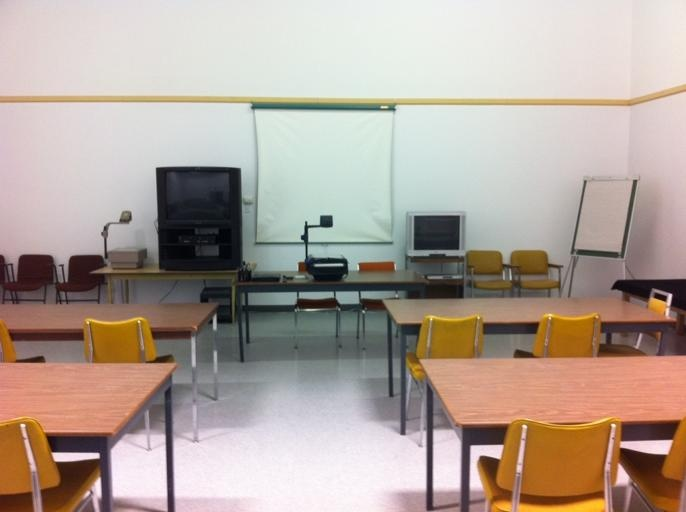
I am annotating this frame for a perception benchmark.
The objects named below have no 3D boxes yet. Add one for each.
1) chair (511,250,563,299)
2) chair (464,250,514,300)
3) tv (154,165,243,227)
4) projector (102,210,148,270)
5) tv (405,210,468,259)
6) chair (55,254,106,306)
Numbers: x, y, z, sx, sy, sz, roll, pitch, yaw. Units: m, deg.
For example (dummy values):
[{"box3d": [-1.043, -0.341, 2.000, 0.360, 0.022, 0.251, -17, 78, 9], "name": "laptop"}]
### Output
[{"box3d": [2.671, 0.278, 7.980, 0.774, 0.659, 0.821, 0, 8, 11], "name": "chair"}, {"box3d": [2.005, 0.255, 7.925, 0.613, 0.823, 0.642, -1, 3, -7], "name": "chair"}, {"box3d": [-1.751, -0.754, 7.198, 1.117, 0.775, 0.646, 0, 4, -4], "name": "tv"}, {"box3d": [-2.866, -0.216, 7.572, 0.522, 0.715, 0.893, -5, 8, -22], "name": "projector"}, {"box3d": [1.241, -0.279, 7.720, 0.923, 0.700, 0.539, 0, 3, 0], "name": "tv"}, {"box3d": [-3.435, 0.378, 7.616, 0.537, 0.731, 0.526, -1, 4, -10], "name": "chair"}]
